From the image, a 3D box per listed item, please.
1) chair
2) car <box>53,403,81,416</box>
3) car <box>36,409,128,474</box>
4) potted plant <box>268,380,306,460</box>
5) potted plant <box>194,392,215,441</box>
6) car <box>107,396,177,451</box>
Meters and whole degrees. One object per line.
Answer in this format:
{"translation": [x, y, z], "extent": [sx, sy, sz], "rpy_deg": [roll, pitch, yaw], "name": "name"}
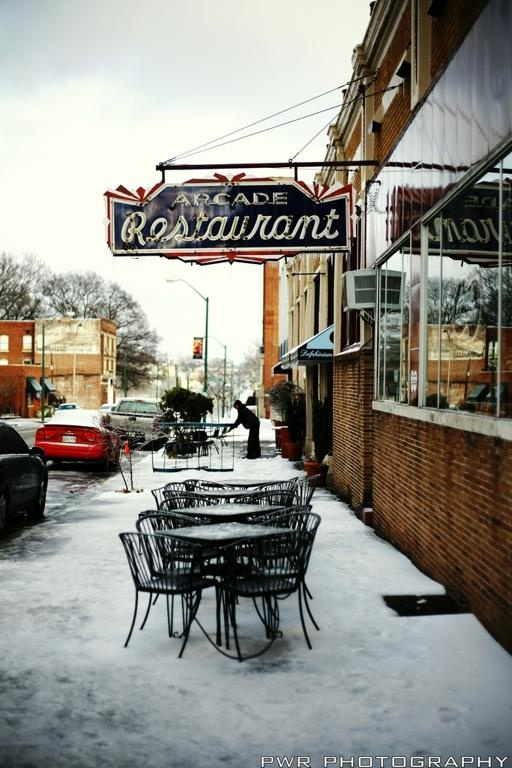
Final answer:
{"translation": [-0.303, 1.387, 5.161], "extent": [1.057, 0.768, 1.166], "rpy_deg": [-1, -3, 29], "name": "chair"}
{"translation": [-10.218, 1.313, 37.012], "extent": [0.980, 1.019, 2.539], "rpy_deg": [-1, -5, -5], "name": "car"}
{"translation": [-4.358, 1.638, 17.285], "extent": [1.306, 1.291, 3.380], "rpy_deg": [1, 2, 1], "name": "car"}
{"translation": [0.929, 1.037, 20.770], "extent": [1.071, 2.098, 3.515], "rpy_deg": [0, 1, 1], "name": "potted plant"}
{"translation": [-1.727, 1.063, 22.618], "extent": [0.861, 1.635, 1.122], "rpy_deg": [0, 1, -17], "name": "potted plant"}
{"translation": [-3.603, 1.029, 21.431], "extent": [1.461, 1.539, 3.615], "rpy_deg": [3, -9, 0], "name": "car"}
